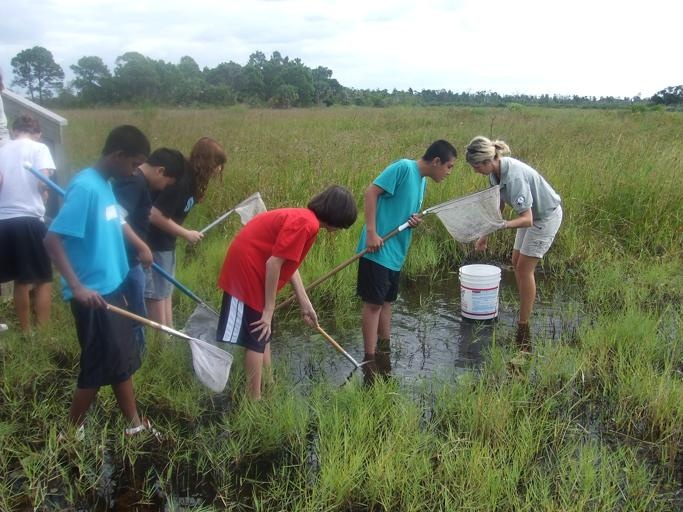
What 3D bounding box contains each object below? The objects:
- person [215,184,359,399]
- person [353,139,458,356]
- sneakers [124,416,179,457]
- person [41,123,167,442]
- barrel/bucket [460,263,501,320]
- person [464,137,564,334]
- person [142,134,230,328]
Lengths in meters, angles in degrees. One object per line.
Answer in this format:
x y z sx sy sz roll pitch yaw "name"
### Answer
-0.510 0.381 5.367 1.095 2.090 0.658 4 17 -17 "person"
0.567 -0.026 6.089 0.800 2.211 0.372 2 8 2 "person"
-1.543 1.466 5.067 0.178 0.532 0.194 -17 30 48 "sneakers"
-1.852 0.236 4.781 0.763 2.470 0.466 -3 9 -30 "person"
1.589 0.399 7.206 0.530 0.620 0.523 -1 12 0 "barrel/bucket"
1.826 -0.234 6.846 1.071 2.247 0.730 -3 25 11 "person"
-1.586 -0.166 6.336 0.850 2.489 0.913 -3 43 -21 "person"
